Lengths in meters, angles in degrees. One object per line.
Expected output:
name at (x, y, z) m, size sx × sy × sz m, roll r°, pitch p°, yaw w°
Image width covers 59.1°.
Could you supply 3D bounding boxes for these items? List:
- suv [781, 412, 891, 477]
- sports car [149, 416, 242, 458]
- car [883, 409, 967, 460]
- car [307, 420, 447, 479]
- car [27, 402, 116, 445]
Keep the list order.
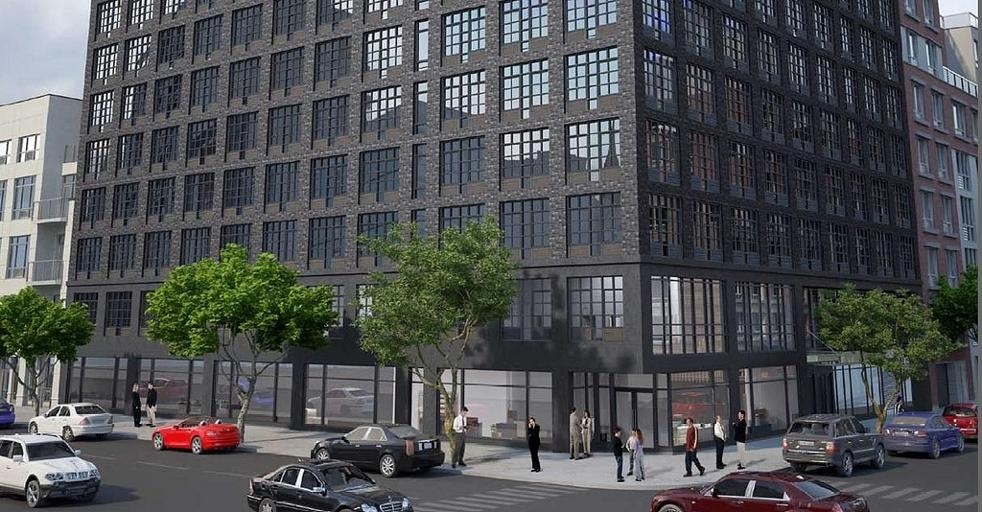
suv at (25.570, 13.637, 63.061) m, size 7.354 × 2.750 × 3.984 m, roll 0°, pitch -3°, yaw -44°
sports car at (-22.870, 14.020, 67.290) m, size 7.641 × 2.412 × 3.609 m, roll -4°, pitch -8°, yaw 31°
car at (34.499, 13.986, 68.936) m, size 4.156 × 2.709 × 9.467 m, roll -1°, pitch -3°, yaw 43°
car at (-8.444, 13.971, 62.905) m, size 9.603 × 2.522 × 3.833 m, roll 1°, pitch -4°, yaw 24°
car at (-34.610, 13.670, 71.491) m, size 7.030 × 1.954 × 3.007 m, roll 1°, pitch -5°, yaw 26°
